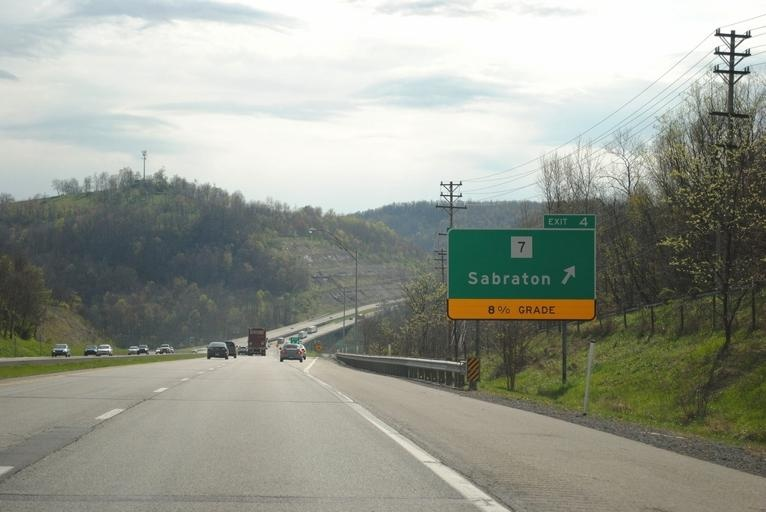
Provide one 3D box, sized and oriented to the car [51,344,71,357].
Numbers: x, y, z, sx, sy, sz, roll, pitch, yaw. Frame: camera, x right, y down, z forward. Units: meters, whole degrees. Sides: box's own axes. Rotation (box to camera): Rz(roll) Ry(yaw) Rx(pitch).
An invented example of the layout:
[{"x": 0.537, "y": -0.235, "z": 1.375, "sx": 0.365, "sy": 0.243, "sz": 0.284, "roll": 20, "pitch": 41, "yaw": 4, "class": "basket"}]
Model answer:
[{"x": -34.733, "y": 9.902, "z": 100.943, "sx": 1.675, "sy": 1.510, "sz": 3.052, "roll": -2, "pitch": -12, "yaw": -1, "class": "car"}]
